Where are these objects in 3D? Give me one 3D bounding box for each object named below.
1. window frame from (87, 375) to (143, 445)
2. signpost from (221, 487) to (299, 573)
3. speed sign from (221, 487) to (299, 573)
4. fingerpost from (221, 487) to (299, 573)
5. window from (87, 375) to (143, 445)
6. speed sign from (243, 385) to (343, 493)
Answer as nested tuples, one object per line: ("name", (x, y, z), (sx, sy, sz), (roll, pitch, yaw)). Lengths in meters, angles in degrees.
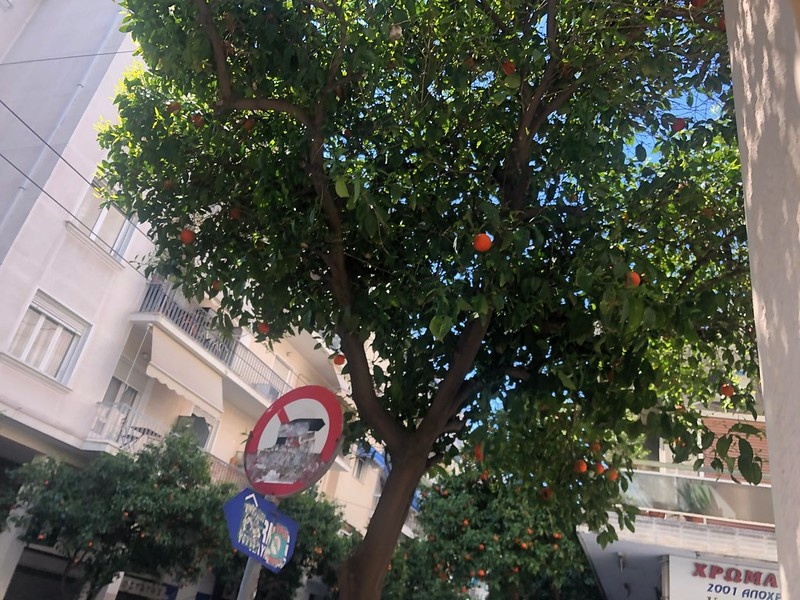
("window frame", (-6.564, 2.604, 14.090), (0.655, 1.187, 1.130), (18, -23, -8))
("signpost", (-0.967, 1.538, 4.166), (0.522, 0.481, 0.276), (15, -29, -3))
("speed sign", (-0.967, 1.538, 4.166), (0.522, 0.481, 0.276), (15, -29, -3))
("fingerpost", (-0.967, 1.538, 4.166), (0.522, 0.481, 0.276), (15, -29, -3))
("window", (-6.560, 2.601, 14.130), (0.655, 1.187, 1.130), (18, -23, -8))
("speed sign", (-0.788, 1.044, 4.536), (0.897, 0.825, 0.323), (-14, -37, 37))
